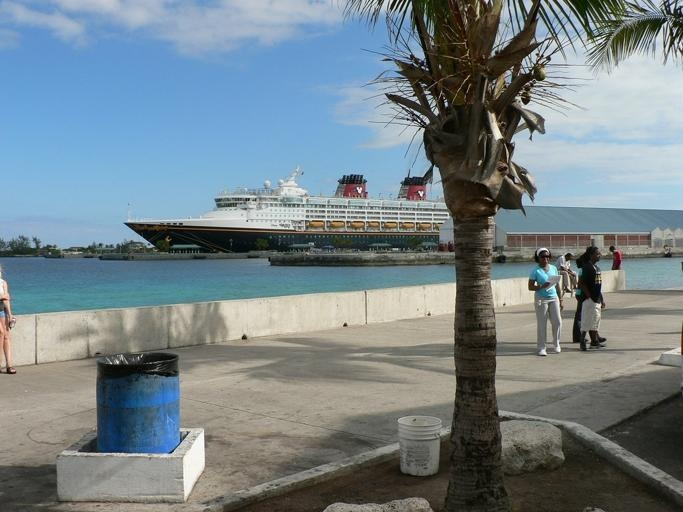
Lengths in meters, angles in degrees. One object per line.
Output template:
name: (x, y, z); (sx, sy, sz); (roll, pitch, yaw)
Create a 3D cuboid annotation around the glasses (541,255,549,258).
glasses: (3.689, 0.002, 13.131); (0.052, 0.029, 0.211); (-3, 0, 40)

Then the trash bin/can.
trash bin/can: (-2.019, 1.459, 7.583); (1.024, 0.947, 1.005); (0, 1, 35)

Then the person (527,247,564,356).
person: (3.720, 0.773, 13.542); (0.810, 1.955, 0.655); (6, 8, 26)

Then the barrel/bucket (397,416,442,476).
barrel/bucket: (0.818, 1.960, 7.591); (0.477, 0.492, 0.358); (-5, 1, -22)

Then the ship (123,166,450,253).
ship: (-4.978, -5.148, 111.678); (44.793, 10.093, 6.101); (-4, 1, -28)
